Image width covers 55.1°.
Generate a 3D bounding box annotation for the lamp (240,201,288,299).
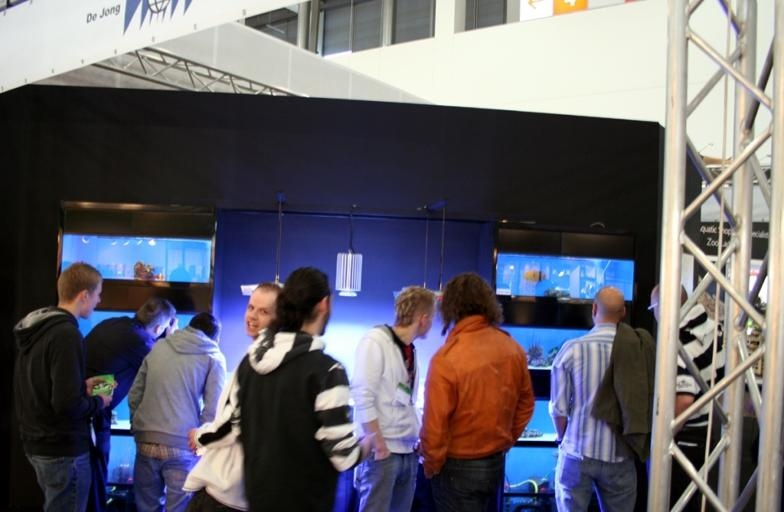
[{"bbox_3d":[-1.229,-0.059,7.135,0.430,1.339,0.289,-4,42,-16],"label":"lamp"}]
